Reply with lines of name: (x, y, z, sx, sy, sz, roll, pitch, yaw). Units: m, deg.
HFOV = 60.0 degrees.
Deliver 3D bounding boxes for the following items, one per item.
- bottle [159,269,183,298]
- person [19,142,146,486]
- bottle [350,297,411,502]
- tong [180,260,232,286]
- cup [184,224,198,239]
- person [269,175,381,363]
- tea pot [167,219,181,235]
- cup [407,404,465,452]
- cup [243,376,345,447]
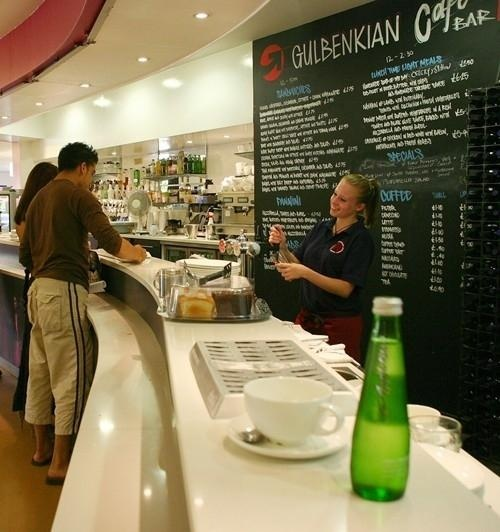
bottle: (-0.331, 0.065, 1.781, 0.120, 0.129, 0.081, 0, -3, 7)
person: (-1.040, 0.249, 2.547, 0.584, 1.916, 0.475, 4, 7, 43)
bottle: (0.155, 0.161, 0.523, 0.070, 0.256, 0.074, 0, 5, 0)
tong: (-0.177, 0.052, 1.862, 0.135, 0.056, 0.133, -9, 16, -36)
cup: (-0.749, -0.426, 5.492, 0.166, 0.147, 0.163, -1, 2, 0)
person: (0.416, 0.042, 2.383, 0.614, 1.076, 0.710, 0, 5, 0)
tea pot: (-1.104, -0.560, 6.288, 0.217, 0.233, 0.146, 1, 5, -10)
cup: (0.342, 0.296, 0.829, 0.095, 0.081, 0.113, -1, -3, -2)
cup: (0.069, 0.236, 0.672, 0.163, 0.086, 0.135, 2, -1, 42)
